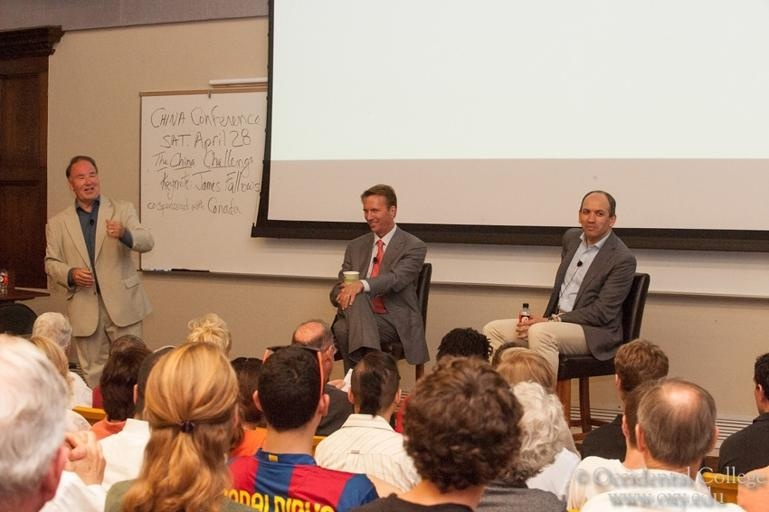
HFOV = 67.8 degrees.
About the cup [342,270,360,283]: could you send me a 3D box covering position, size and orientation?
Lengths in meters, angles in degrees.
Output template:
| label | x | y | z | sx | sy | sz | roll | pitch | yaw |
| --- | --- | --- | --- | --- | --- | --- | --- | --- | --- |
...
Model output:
| label | x | y | z | sx | sy | sz | roll | pitch | yaw |
| --- | --- | --- | --- | --- | --- | --- | --- | --- | --- |
| cup | -0.236 | 0.142 | 4.038 | 0.080 | 0.067 | 0.086 | 1 | -7 | 0 |
